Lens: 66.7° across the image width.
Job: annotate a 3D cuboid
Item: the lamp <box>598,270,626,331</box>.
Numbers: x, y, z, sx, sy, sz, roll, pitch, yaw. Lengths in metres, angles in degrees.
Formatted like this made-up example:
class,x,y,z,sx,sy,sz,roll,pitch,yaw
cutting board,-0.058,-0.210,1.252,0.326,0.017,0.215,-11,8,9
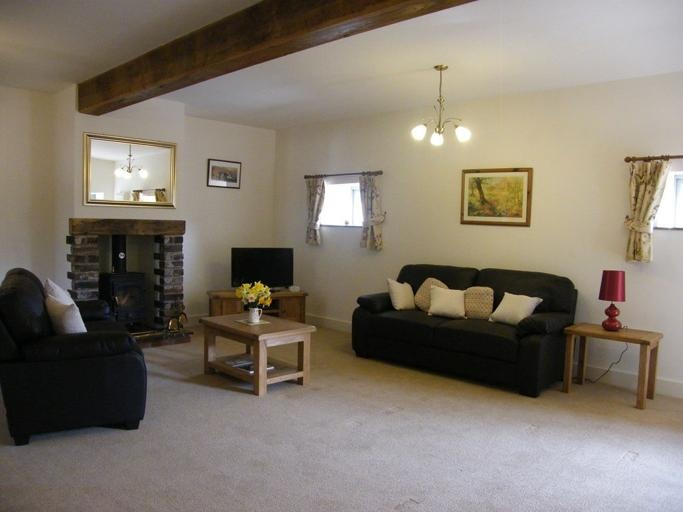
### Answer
class,x,y,z,sx,sy,sz,roll,pitch,yaw
lamp,2.744,0.433,5.255,0.214,0.608,0.456,6,10,30

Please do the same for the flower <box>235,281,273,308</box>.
class,x,y,z,sx,sy,sz,roll,pitch,yaw
flower,-0.928,0.427,5.554,0.366,0.350,0.375,2,-5,18

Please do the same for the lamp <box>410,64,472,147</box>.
class,x,y,z,sx,sy,sz,roll,pitch,yaw
lamp,1.123,-1.706,5.803,0.680,0.777,0.679,2,25,11

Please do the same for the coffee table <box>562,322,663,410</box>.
class,x,y,z,sx,sy,sz,roll,pitch,yaw
coffee table,2.701,1.085,5.215,0.500,0.667,0.789,-3,5,-43

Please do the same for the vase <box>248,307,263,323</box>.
class,x,y,z,sx,sy,sz,roll,pitch,yaw
vase,-0.891,0.619,5.492,0.168,0.160,0.110,0,2,-35

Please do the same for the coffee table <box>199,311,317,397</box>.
class,x,y,z,sx,sy,sz,roll,pitch,yaw
coffee table,-0.904,1.005,5.536,0.752,0.582,1.112,-1,3,-42

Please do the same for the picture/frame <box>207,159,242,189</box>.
class,x,y,z,sx,sy,sz,roll,pitch,yaw
picture/frame,-1.832,-1.272,8.013,0.503,0.381,0.017,0,2,-41

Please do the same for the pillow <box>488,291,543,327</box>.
class,x,y,z,sx,sy,sz,roll,pitch,yaw
pillow,1.891,0.574,5.646,0.372,0.303,0.457,-7,11,-42

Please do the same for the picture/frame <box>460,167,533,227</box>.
class,x,y,z,sx,sy,sz,roll,pitch,yaw
picture/frame,1.899,-0.705,6.201,0.701,0.604,0.100,4,4,34

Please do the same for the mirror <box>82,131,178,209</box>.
class,x,y,z,sx,sy,sz,roll,pitch,yaw
mirror,-2.752,-1.109,6.645,1.077,0.880,0.064,0,2,-35

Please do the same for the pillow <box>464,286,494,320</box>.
class,x,y,z,sx,sy,sz,roll,pitch,yaw
pillow,1.566,0.551,5.856,0.286,0.304,0.173,3,-18,30
